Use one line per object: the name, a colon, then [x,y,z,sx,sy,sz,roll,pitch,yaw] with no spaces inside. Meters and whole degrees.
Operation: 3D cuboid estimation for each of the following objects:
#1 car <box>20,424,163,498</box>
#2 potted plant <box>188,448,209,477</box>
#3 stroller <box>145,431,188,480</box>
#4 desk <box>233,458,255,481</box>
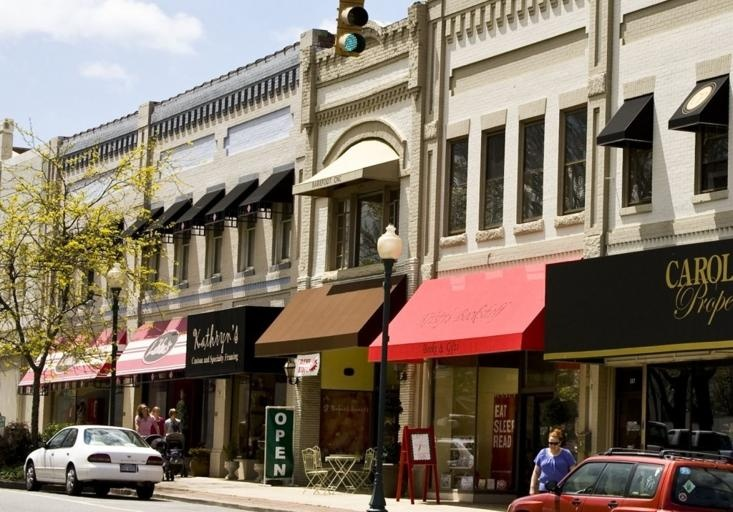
car: [-7.458,5.389,35.882,1.691,1.210,3.611,7,-6,-32]
potted plant: [-5.493,6.696,43.967,0.783,0.855,0.861,-14,-23,39]
stroller: [-6.145,6.015,40.667,1.078,1.407,1.091,-3,-11,17]
desk: [-3.750,6.638,41.882,0.566,0.545,0.578,-4,-7,32]
